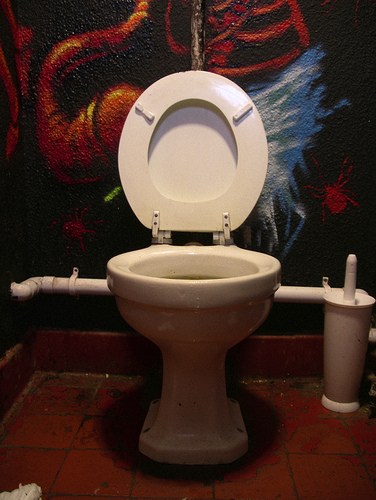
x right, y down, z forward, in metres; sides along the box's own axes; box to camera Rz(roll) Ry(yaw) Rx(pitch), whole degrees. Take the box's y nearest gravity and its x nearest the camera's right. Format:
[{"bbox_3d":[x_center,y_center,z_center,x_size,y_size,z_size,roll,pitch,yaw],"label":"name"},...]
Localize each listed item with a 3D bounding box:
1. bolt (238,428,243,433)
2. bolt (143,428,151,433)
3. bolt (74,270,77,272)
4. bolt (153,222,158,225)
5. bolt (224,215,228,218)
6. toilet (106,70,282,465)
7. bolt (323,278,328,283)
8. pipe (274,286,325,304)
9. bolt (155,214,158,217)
[{"bbox_3d":[0.130,0.451,1.117,0.011,0.002,0.019,1,11,3],"label":"bolt"},{"bbox_3d":[-0.103,0.450,1.116,0.010,0.003,0.009,6,20,27],"label":"bolt"},{"bbox_3d":[-0.348,0.068,1.404,0.005,0.007,0.004,-6,13,-27],"label":"bolt"},{"bbox_3d":[-0.088,-0.072,1.225,0.007,0.008,0.002,5,6,8],"label":"bolt"},{"bbox_3d":[0.102,-0.089,1.218,0.008,0.007,0.002,-6,11,2],"label":"bolt"},{"bbox_3d":[0.019,0.023,1.069,0.397,0.937,0.498,-1,12,-2],"label":"toilet"},{"bbox_3d":[0.429,0.097,1.410,0.011,0.014,0.004,5,3,8],"label":"bolt"},{"bbox_3d":[0.335,0.142,1.365,0.151,0.058,0.055,0,11,0],"label":"pipe"},{"bbox_3d":[-0.086,-0.094,1.223,0.008,0.005,0.006,-2,15,-15],"label":"bolt"}]
